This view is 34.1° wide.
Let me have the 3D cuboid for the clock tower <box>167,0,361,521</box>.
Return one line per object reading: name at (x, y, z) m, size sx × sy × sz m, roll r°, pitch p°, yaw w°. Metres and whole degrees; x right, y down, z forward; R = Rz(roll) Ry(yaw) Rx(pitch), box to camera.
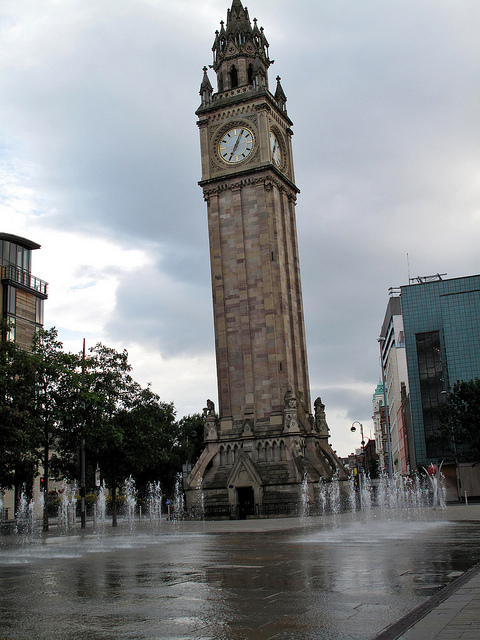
clock tower at (0.882, -8.119, 61.225) m, size 8.793 × 45.359 × 11.313 m, roll -9°, pitch -13°, yaw 27°
